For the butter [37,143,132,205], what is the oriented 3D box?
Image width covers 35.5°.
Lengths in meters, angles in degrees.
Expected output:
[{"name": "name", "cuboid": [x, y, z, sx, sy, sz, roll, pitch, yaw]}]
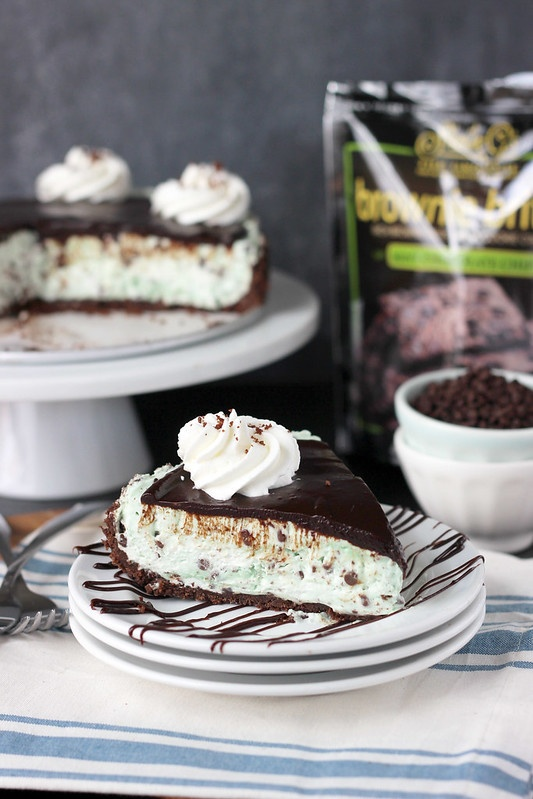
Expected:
[{"name": "butter", "cuboid": [-0.263, -0.323, 1.197, 0.123, 0.060, 0.080, -3, 12, 3]}]

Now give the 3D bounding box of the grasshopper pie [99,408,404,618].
[{"name": "grasshopper pie", "cuboid": [0.018, 0.103, 0.775, 0.301, 0.133, 0.217, 14, 25, 42]}]
